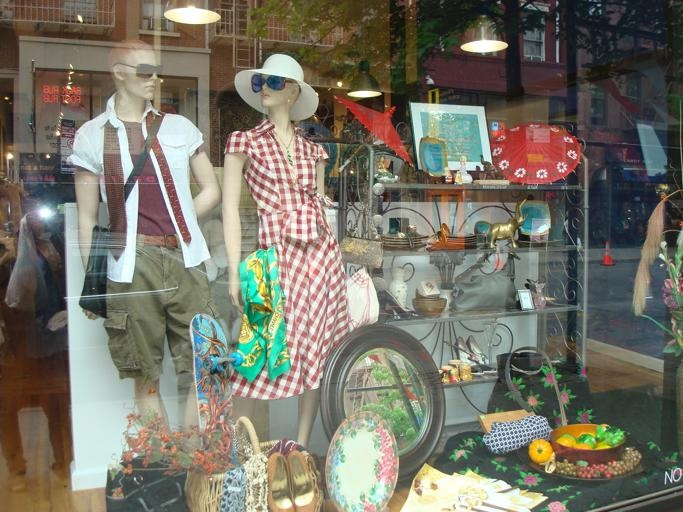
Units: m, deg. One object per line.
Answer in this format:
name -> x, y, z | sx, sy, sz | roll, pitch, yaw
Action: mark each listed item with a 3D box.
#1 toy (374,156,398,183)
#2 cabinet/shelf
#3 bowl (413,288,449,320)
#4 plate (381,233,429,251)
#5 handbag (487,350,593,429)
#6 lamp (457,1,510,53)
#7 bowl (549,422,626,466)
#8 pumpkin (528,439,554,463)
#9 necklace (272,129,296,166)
toy -> 0.213, -0.416, 3.167 | 0.039, 0.117, 0.113 | 5, 29, 33
cabinet/shelf -> 0.737, 0.060, 3.651 | 1.107, 1.172, 0.358 | -1, 5, 6
bowl -> 0.458, 0.252, 3.359 | 0.139, 0.083, 0.138 | -1, -1, 0
plate -> 0.318, -0.064, 3.270 | 0.282, 0.084, 0.041 | -1, 2, -39
handbag -> 1.092, 0.742, 3.661 | 0.465, 0.465, 0.114 | 10, -34, -20
lamp -> 0.754, -1.163, 3.473 | 0.230, 0.270, 0.246 | 1, -3, 12
bowl -> 1.261, 0.970, 3.369 | 0.412, 0.129, 0.259 | 0, 2, -8
pumpkin -> 0.999, 0.988, 3.284 | 0.121, 0.106, 0.094 | -1, 2, -28
necklace -> -0.260, -0.478, 2.915 | 0.142, 0.185, 0.009 | -8, 0, -42
